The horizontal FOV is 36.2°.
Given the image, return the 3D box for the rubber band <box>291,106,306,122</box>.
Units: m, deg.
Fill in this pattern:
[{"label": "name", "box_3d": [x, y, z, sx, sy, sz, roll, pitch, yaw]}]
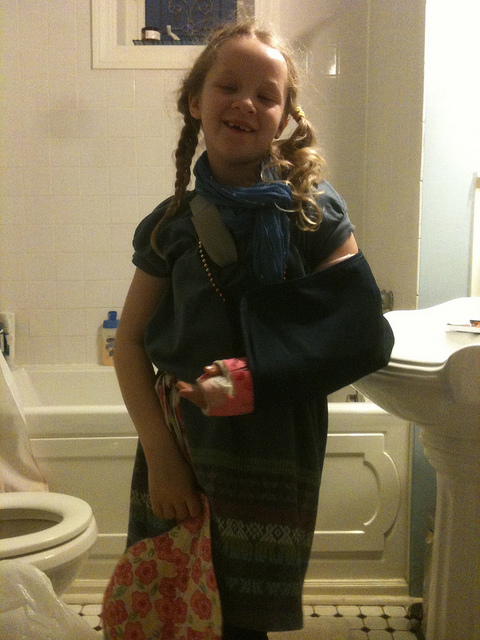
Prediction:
[{"label": "rubber band", "box_3d": [0.097, -0.330, 1.170, 0.013, 0.018, 0.023, 9, 0, -25]}]
